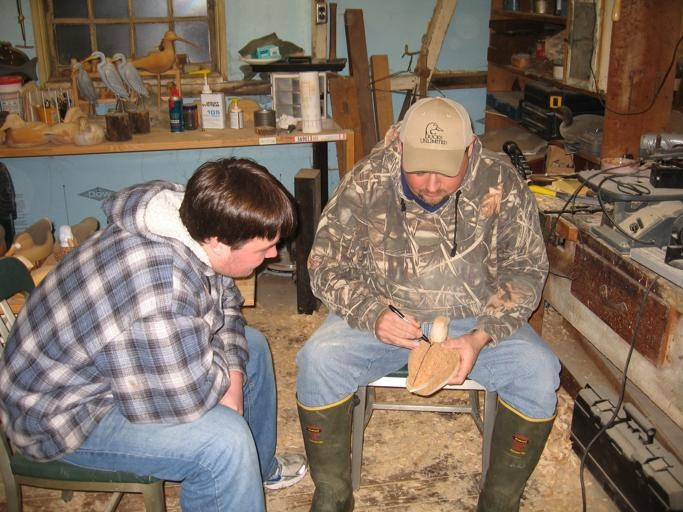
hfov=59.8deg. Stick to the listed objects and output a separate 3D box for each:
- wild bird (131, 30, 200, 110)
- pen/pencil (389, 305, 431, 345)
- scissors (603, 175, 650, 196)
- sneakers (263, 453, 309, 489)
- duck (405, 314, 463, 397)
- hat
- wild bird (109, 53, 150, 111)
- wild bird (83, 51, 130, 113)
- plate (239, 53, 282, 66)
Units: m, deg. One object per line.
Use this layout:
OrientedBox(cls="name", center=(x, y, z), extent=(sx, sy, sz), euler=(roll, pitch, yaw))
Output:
OrientedBox(cls="wild bird", center=(-1.402, -1.496, 4.517), extent=(0.444, 0.418, 0.173), euler=(10, 21, -2))
OrientedBox(cls="pen/pencil", center=(0.290, 0.291, 2.560), extent=(0.200, 0.028, 0.028), euler=(48, 31, 14))
OrientedBox(cls="scissors", center=(1.329, -0.336, 2.755), extent=(0.175, 0.024, 0.311), euler=(5, 22, 16))
OrientedBox(cls="sneakers", center=(-0.269, 1.013, 2.856), extent=(0.193, 0.100, 0.118), euler=(-29, 51, -33))
OrientedBox(cls="duck", center=(0.361, 0.405, 2.434), extent=(0.224, 0.222, 0.358), euler=(3, 28, 29))
OrientedBox(cls="hat", center=(0.413, -0.496, 2.584), extent=(0.232, 0.143, 0.373), euler=(4, 54, 10))
OrientedBox(cls="wild bird", center=(-1.541, -1.284, 4.335), extent=(0.227, 0.378, 0.116), euler=(-16, 37, -30))
OrientedBox(cls="wild bird", center=(-1.645, -1.298, 4.212), extent=(0.238, 0.354, 0.115), euler=(-15, 50, -12))
OrientedBox(cls="plate", center=(-0.629, -1.468, 4.454), extent=(0.357, 0.055, 0.232), euler=(13, 26, 32))
